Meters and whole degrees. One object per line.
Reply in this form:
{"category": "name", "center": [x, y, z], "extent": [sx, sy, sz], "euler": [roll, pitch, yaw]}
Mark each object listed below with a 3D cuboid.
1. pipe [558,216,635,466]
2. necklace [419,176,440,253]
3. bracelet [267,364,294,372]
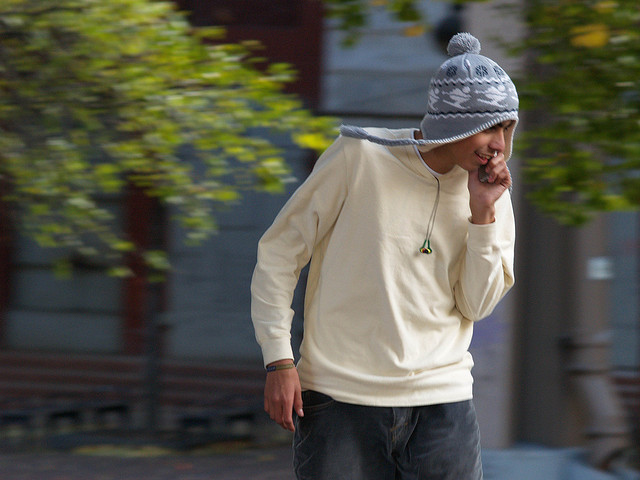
{"category": "pipe", "center": [1.696, 0.632, 9.428], "extent": [0.410, 1.534, 0.163], "euler": [-3, 8, 7]}
{"category": "necklace", "center": [0.573, -0.121, 7.924], "extent": [0.040, 0.370, 0.151], "euler": [3, 10, 43]}
{"category": "bracelet", "center": [-0.205, 0.670, 7.916], "extent": [0.135, 0.041, 0.031], "euler": [-2, 7, 3]}
